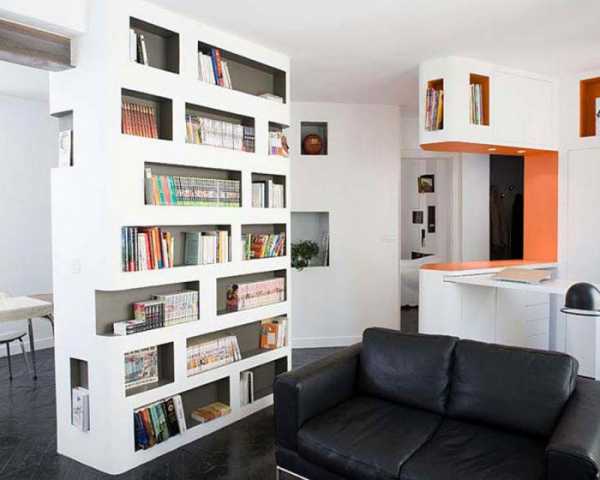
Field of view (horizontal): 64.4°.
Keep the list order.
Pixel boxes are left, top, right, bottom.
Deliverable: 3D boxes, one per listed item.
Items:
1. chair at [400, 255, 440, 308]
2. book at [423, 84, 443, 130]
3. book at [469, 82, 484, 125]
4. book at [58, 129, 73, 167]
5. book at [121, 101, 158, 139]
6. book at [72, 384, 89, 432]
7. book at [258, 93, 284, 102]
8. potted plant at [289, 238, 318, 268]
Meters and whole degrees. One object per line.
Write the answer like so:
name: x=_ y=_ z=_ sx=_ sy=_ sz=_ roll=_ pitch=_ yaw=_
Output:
chair: x=2.201 y=0.717 z=8.580 sx=0.919 sy=1.049 sz=0.764 roll=2 pitch=2 yaw=33
book: x=1.424 y=-1.417 z=5.080 sx=0.118 sy=0.444 sz=0.309 roll=1 pitch=3 yaw=17
book: x=1.859 y=-1.433 z=5.033 sx=0.105 sy=0.381 sz=0.257 roll=-1 pitch=4 yaw=-32
book: x=-1.888 y=-0.730 z=3.832 sx=0.178 sy=0.309 sz=0.029 roll=-2 pitch=1 yaw=35
book: x=-1.277 y=-0.938 z=3.753 sx=0.057 sy=0.334 sz=0.368 roll=-3 pitch=-2 yaw=30
book: x=-1.716 y=1.342 z=3.738 sx=0.088 sy=0.355 sz=0.230 roll=-3 pitch=1 yaw=-43
book: x=-0.321 y=-1.419 z=4.789 sx=0.141 sy=0.036 sz=0.144 roll=7 pitch=10 yaw=42
potted plant: x=0.036 y=0.189 z=6.513 sx=0.307 sy=0.424 sz=0.410 roll=-3 pitch=4 yaw=-17
